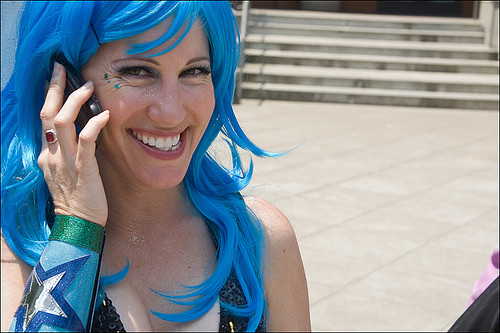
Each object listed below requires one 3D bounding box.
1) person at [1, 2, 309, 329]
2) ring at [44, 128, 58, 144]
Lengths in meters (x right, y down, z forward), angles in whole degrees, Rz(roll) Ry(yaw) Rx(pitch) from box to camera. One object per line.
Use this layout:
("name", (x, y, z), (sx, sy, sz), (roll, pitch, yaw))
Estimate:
("person", (-0.489, 0.024, 2.142), (1.483, 1.460, 0.874), (2, 19, 3))
("ring", (-0.871, -0.134, 2.088), (0.056, 0.063, 0.037), (-4, 0, 1))
